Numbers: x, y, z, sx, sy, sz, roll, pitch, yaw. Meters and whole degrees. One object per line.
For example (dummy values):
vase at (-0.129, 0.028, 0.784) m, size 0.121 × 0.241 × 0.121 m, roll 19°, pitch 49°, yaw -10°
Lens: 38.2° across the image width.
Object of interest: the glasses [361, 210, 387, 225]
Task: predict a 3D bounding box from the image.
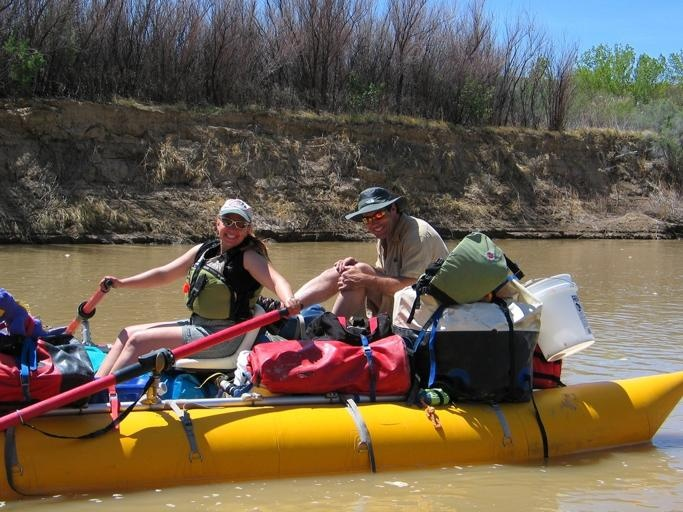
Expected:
glasses at (0.369, -0.428, 11.002) m, size 0.286 × 0.163 × 0.122 m, roll 1°, pitch 1°, yaw 11°

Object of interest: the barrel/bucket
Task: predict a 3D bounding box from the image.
barrel/bucket at (2.267, 0.670, 10.553) m, size 0.747 × 0.758 × 0.693 m, roll -18°, pitch -12°, yaw -4°

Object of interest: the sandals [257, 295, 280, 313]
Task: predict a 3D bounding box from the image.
sandals at (-0.808, 0.539, 10.984) m, size 0.236 × 0.080 × 0.161 m, roll 14°, pitch -2°, yaw -19°

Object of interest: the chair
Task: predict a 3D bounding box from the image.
chair at (-1.290, 0.910, 10.322) m, size 0.759 × 0.674 × 0.537 m, roll 2°, pitch -3°, yaw -3°

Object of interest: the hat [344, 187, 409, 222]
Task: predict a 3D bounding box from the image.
hat at (0.352, -0.600, 11.134) m, size 0.705 × 0.246 × 0.734 m, roll -6°, pitch -15°, yaw -24°
